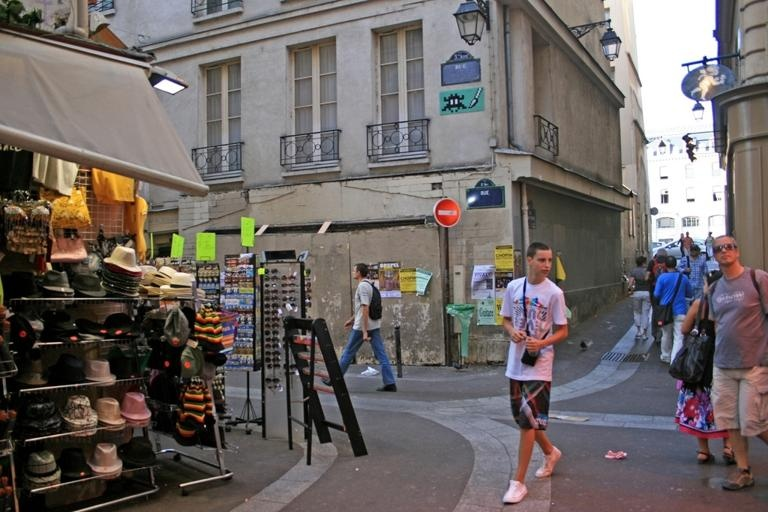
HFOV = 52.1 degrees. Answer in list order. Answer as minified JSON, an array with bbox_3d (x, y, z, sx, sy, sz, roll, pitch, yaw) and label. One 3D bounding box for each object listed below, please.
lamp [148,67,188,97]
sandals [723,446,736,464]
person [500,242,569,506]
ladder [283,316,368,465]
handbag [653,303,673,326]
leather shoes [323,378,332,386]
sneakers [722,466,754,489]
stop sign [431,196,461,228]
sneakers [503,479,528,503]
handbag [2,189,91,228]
[{"bbox_3d":[-3.085,-2.437,10.962,0.277,0.151,0.535,-3,-6,19],"label":"lamp"},{"bbox_3d":[4.551,2.685,10.351,0.094,0.117,0.277,-2,1,22],"label":"sandals"},{"bbox_3d":[1.844,1.422,9.615,0.749,3.085,0.819,0,4,9],"label":"person"},{"bbox_3d":[-0.901,1.835,11.280,1.006,1.975,1.320,-2,4,-17],"label":"ladder"},{"bbox_3d":[5.703,1.228,16.020,0.199,0.484,0.432,1,1,-23],"label":"handbag"},{"bbox_3d":[-0.802,1.786,10.881,0.085,0.116,0.120,-2,-27,-10],"label":"leather shoes"},{"bbox_3d":[4.422,2.800,9.770,0.560,0.269,0.190,7,-12,-34],"label":"sneakers"},{"bbox_3d":[1.385,-0.922,17.552,0.612,0.747,0.133,3,-5,-16],"label":"stop sign"},{"bbox_3d":[1.563,2.873,9.442,0.158,0.172,0.366,-4,-6,29],"label":"sneakers"},{"bbox_3d":[-4.246,-0.604,10.466,0.600,0.555,0.279,-4,5,-33],"label":"handbag"}]
